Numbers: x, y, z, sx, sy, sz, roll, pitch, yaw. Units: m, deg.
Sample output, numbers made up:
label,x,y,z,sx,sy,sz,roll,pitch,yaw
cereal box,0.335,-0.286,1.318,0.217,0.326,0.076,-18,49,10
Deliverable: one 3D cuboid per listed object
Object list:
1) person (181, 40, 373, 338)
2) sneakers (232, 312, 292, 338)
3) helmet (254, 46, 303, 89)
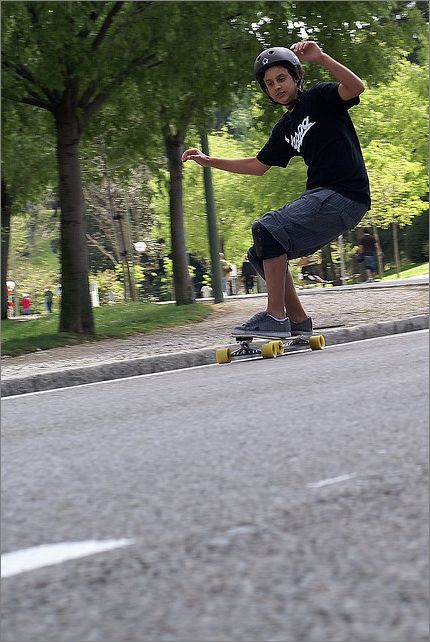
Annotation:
label,x,y,z,sx,sy,sz,roll,pitch,yaw
person,0.695,-1.099,5.181,0.934,2.397,1.491,-5,-2,-38
sneakers,0.424,0.044,5.234,0.577,0.237,0.196,3,-4,-2
helmet,0.510,-2.136,4.951,0.370,0.305,0.264,-6,-1,11
